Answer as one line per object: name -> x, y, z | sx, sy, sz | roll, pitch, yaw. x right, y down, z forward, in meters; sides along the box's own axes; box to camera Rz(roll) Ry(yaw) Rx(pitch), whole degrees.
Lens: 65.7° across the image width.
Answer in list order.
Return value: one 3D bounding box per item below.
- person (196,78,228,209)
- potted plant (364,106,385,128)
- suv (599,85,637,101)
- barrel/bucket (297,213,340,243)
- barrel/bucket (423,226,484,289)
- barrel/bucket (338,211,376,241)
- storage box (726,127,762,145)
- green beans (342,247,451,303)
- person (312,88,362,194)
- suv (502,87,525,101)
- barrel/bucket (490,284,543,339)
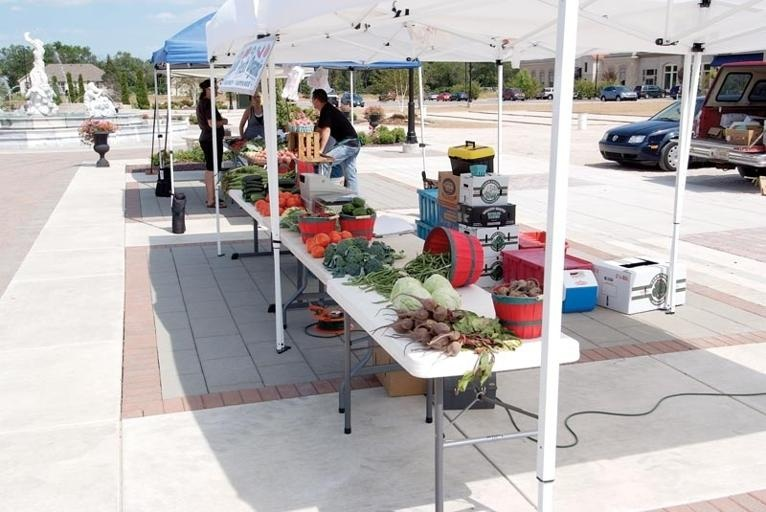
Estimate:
person -> -3.545, -2.361, 12.526 | 0.970, 2.494, 1.040 | -3, 14, -21
potted plant -> -0.497, -6.998, 29.988 | 0.832, 1.029, 1.612 | -1, 17, -3
suv -> 22.256, -15.624, 56.910 | 2.088, 1.025, 2.937 | -6, 14, -20
barrel/bucket -> -0.678, -0.309, 5.979 | 0.363, 0.150, 0.286 | -1, 7, -16
barrel/bucket -> 0.569, -0.008, 4.940 | 0.511, 0.472, 0.491 | 0, 58, 1
barrel/bucket -> -0.263, -0.303, 5.887 | 0.368, 0.164, 0.300 | 0, 3, -4
storage box -> 8.455, -2.817, 13.942 | 0.674, 0.274, 0.538 | -4, 11, -7
green beans -> 0.126, 0.163, 4.750 | 1.100, 0.393, 0.498 | -2, -4, 13
person -> -0.909, -2.058, 10.767 | 0.691, 1.880, 1.078 | 9, 22, 23
suv -> 14.547, -18.357, 67.478 | 1.672, 0.977, 2.433 | -10, 15, -29
barrel/bucket -> 0.897, 0.348, 4.033 | 0.334, 0.353, 0.324 | 0, 18, 0
